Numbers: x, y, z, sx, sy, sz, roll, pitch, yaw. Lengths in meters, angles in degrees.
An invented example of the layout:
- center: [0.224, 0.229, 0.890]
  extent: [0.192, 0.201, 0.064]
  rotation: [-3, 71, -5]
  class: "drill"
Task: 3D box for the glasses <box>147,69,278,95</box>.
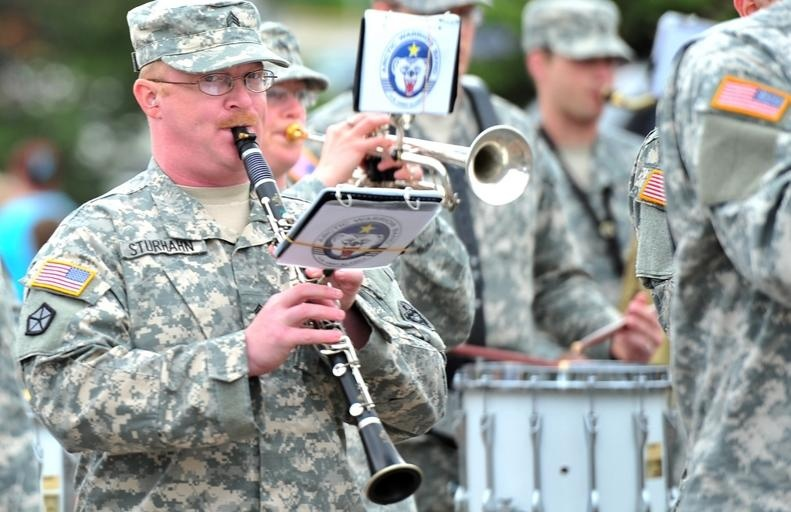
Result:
- center: [-0.826, -0.841, 7.698]
  extent: [0.404, 0.158, 0.225]
  rotation: [13, 26, 35]
  class: "glasses"
